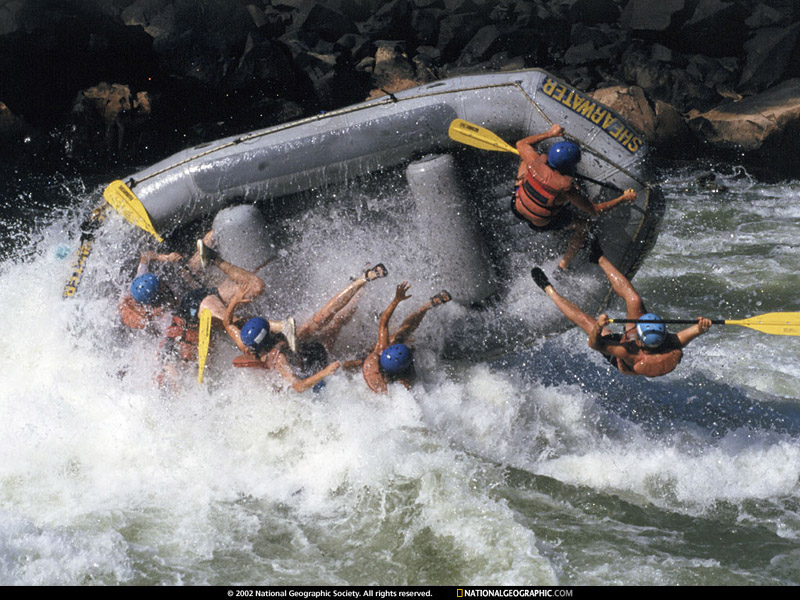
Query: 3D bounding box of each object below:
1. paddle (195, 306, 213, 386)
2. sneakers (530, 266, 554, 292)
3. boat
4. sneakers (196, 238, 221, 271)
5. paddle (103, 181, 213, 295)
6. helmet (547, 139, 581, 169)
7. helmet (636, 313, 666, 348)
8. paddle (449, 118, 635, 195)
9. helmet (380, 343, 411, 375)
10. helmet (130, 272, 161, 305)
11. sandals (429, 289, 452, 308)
[{"bbox_3d":[-2.684,0.616,13.786,0.189,0.105,1.079,5,91,-5],"label":"paddle"},{"bbox_3d":[1.882,-0.318,13.375,0.154,0.168,0.432,-46,108,0],"label":"sneakers"},{"bbox_3d":[-0.038,-1.869,14.892,6.975,1.695,3.970,-13,94,17],"label":"boat"},{"bbox_3d":[-2.553,-0.635,13.558,0.196,0.579,0.243,-30,70,-16],"label":"sneakers"},{"bbox_3d":[-3.516,-1.094,14.082,0.394,0.200,1.431,-42,98,8],"label":"paddle"},{"bbox_3d":[2.103,-1.893,12.897,0.389,0.242,0.404,-9,92,18],"label":"helmet"},{"bbox_3d":[3.152,0.365,12.626,0.306,0.411,0.376,1,63,-2],"label":"helmet"},{"bbox_3d":[1.964,-1.980,13.424,2.662,0.129,0.480,24,93,16],"label":"paddle"},{"bbox_3d":[-0.053,0.755,13.134,0.419,0.354,0.373,-4,73,6],"label":"helmet"},{"bbox_3d":[-3.470,-0.181,13.743,0.397,0.196,0.433,30,80,15],"label":"helmet"},{"bbox_3d":[0.538,-0.040,13.129,0.269,0.098,0.170,-23,81,13],"label":"sandals"}]
